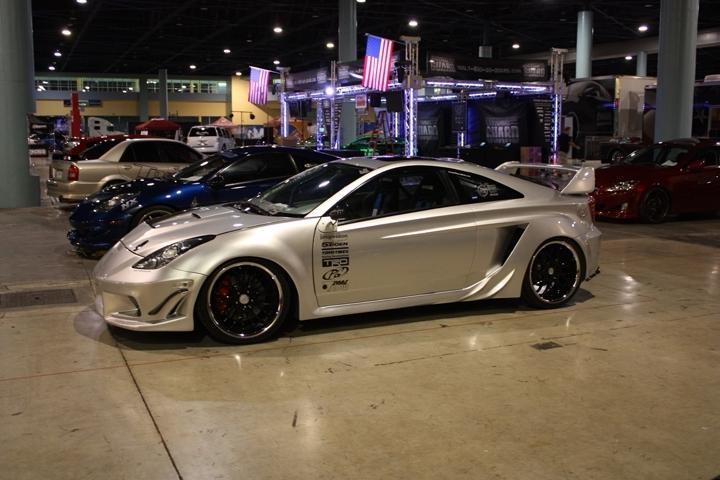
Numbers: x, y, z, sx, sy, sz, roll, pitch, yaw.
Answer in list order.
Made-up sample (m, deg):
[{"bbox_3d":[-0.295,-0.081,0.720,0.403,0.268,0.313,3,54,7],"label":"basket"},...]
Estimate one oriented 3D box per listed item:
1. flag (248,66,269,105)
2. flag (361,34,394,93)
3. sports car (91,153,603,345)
[{"bbox_3d":[-5.157,-7.827,23.815,0.073,1.753,1.716,25,27,21],"label":"flag"},{"bbox_3d":[0.627,-6.043,16.013,0.986,1.763,0.747,1,17,0],"label":"flag"},{"bbox_3d":[0.317,-0.048,5.598,6.009,1.160,2.339,-2,6,-14],"label":"sports car"}]
